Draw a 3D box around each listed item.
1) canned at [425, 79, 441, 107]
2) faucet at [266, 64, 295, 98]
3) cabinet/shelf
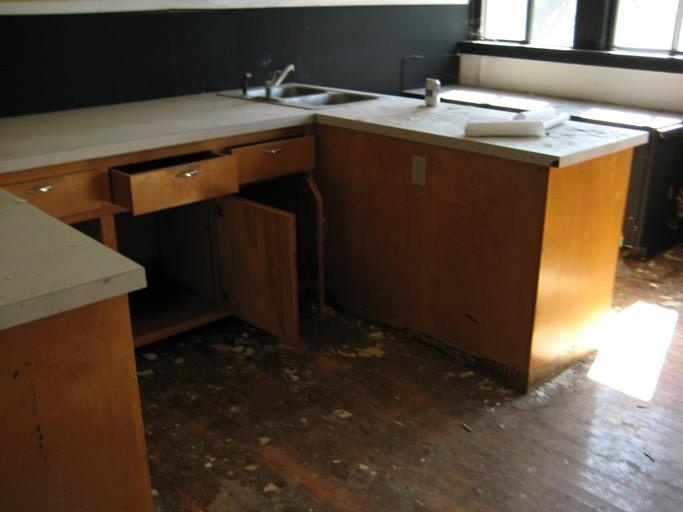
[{"bbox_3d":[0.488,-0.872,2.873,0.074,0.130,0.149,3,28,8],"label":"canned"},{"bbox_3d":[-0.372,-1.018,3.208,0.234,0.151,0.045,1,7,44],"label":"faucet"},{"bbox_3d":[-0.587,-0.136,2.747,1.061,0.913,1.065,-22,35,-34],"label":"cabinet/shelf"}]
